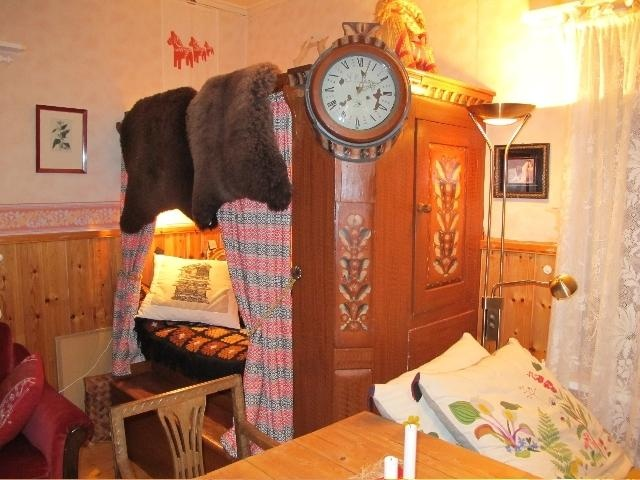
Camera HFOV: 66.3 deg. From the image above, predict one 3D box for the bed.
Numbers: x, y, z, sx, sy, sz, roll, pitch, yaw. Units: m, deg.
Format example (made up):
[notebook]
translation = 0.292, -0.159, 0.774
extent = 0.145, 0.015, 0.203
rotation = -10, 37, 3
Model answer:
[bed]
translation = -0.861, 0.058, 3.222
extent = 0.368, 2.131, 1.821
rotation = -6, 8, -43

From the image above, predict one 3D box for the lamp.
[lamp]
translation = 1.087, 0.114, 2.734
extent = 0.662, 1.668, 0.385
rotation = 6, 9, 28

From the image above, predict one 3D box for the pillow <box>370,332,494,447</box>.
[pillow]
translation = 0.471, 0.563, 2.029
extent = 0.340, 0.135, 0.479
rotation = 29, 31, 36

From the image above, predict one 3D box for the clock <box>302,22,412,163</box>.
[clock]
translation = 0.208, -0.819, 2.694
extent = 0.557, 0.728, 0.215
rotation = 2, -4, -1
